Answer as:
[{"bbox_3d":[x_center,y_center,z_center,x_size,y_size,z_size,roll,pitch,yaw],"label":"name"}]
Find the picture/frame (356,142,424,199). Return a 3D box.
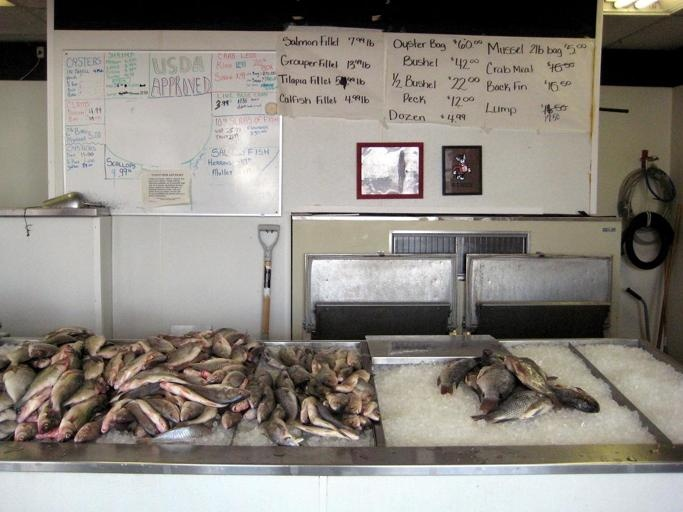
[{"bbox_3d":[0.330,-0.631,4.046,0.409,0.338,0.015,0,0,-4],"label":"picture/frame"}]

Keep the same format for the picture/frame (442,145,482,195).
[{"bbox_3d":[0.859,-0.634,4.057,0.357,0.427,0.028,0,0,-6],"label":"picture/frame"}]

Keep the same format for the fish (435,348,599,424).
[{"bbox_3d":[0.769,0.556,2.387,0.373,0.084,0.374,-1,19,-15],"label":"fish"}]
